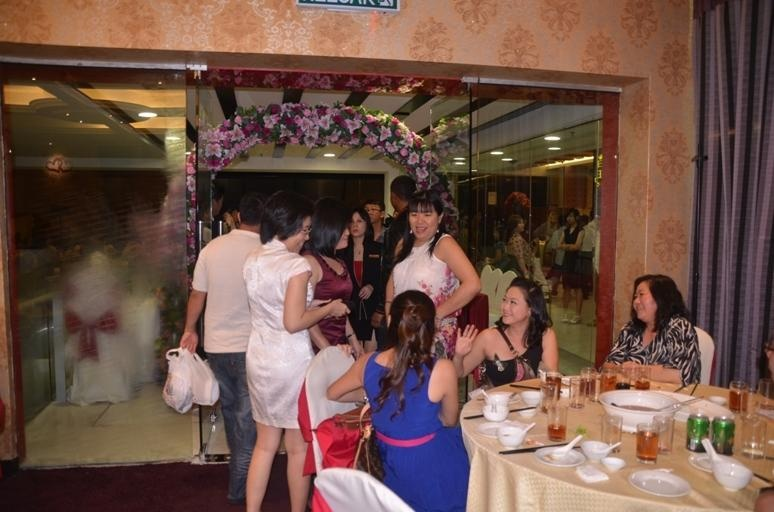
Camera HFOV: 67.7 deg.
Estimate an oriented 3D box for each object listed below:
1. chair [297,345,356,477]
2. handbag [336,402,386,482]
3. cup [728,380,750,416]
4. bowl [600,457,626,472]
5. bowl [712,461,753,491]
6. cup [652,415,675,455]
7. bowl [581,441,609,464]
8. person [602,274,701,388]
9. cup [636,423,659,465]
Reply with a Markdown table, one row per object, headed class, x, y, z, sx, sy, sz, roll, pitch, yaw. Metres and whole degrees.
| class | x | y | z | sx | sy | sz | roll | pitch | yaw |
| --- | --- | --- | --- | --- | --- | --- | --- | --- | --- |
| chair | -0.416 | 1.008 | 3.493 | 0.329 | 0.497 | 0.372 | 0 | -13 | 17 |
| handbag | -0.158 | 1.019 | 3.275 | 0.116 | 0.311 | 0.306 | 8 | -7 | -8 |
| cup | 2.029 | 0.828 | 3.334 | 0.097 | 0.162 | 0.160 | 4 | -3 | 22 |
| bowl | 1.119 | 1.035 | 2.861 | 0.072 | 0.029 | 0.073 | -4 | 7 | 1 |
| bowl | 1.660 | 1.065 | 2.789 | 0.169 | 0.093 | 0.136 | -2 | 0 | -25 |
| cup | 1.438 | 0.937 | 3.037 | 0.116 | 0.190 | 0.117 | 4 | -6 | 0 |
| bowl | 1.049 | 0.989 | 2.939 | 0.100 | 0.053 | 0.100 | -1 | 4 | 0 |
| person | 1.821 | 0.582 | 4.050 | 0.655 | 0.866 | 0.562 | -6 | -8 | 43 |
| cup | 1.319 | 0.964 | 2.954 | 0.111 | 0.180 | 0.111 | 5 | -5 | 0 |
